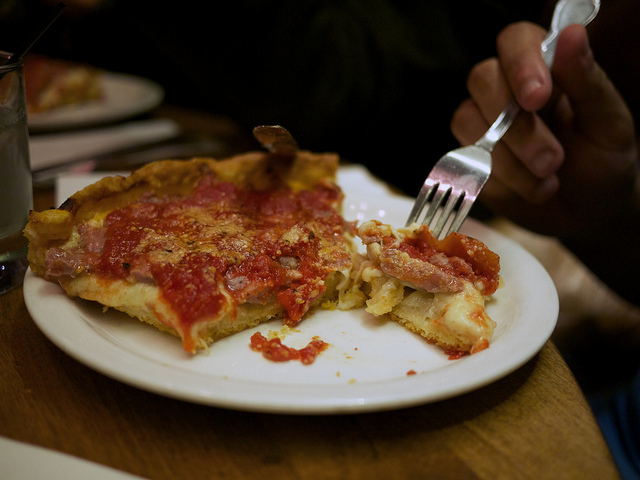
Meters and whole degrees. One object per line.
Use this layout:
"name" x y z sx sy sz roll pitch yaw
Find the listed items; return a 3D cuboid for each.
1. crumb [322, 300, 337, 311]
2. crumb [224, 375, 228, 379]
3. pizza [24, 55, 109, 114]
"crumb" 0.052 0.353 3.538 0.051 0.014 0.051 -27 54 -31
"crumb" -0.434 0.627 2.996 0.022 0.029 0.007 -2 91 -3
"pizza" -2.150 -1.197 5.640 0.643 0.205 0.674 -7 41 -16
